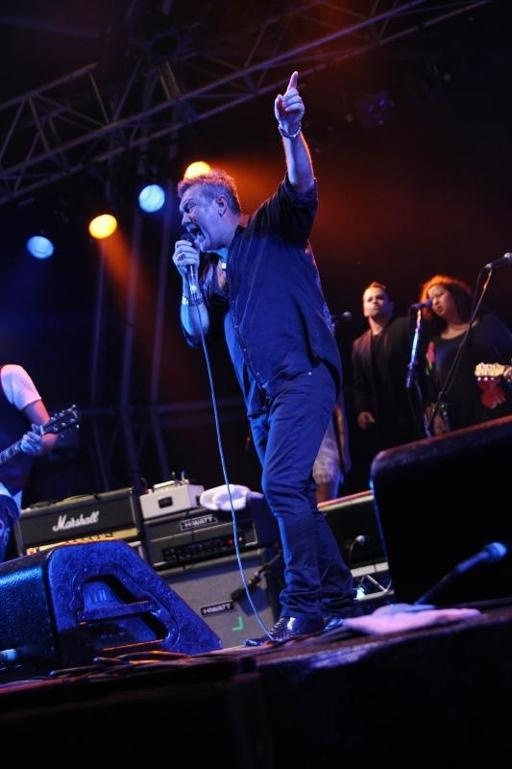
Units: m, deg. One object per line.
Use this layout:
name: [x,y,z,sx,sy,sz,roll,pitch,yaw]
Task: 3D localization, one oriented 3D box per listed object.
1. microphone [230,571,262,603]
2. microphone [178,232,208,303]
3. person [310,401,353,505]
microphone: [-0.044,0.843,3.165,0.189,0.067,0.048,-28,4,-13]
microphone: [-0.209,-0.373,2.476,0.060,0.265,0.071,-4,24,-1]
person: [0.345,0.312,3.369,0.242,0.232,0.779,4,18,8]
